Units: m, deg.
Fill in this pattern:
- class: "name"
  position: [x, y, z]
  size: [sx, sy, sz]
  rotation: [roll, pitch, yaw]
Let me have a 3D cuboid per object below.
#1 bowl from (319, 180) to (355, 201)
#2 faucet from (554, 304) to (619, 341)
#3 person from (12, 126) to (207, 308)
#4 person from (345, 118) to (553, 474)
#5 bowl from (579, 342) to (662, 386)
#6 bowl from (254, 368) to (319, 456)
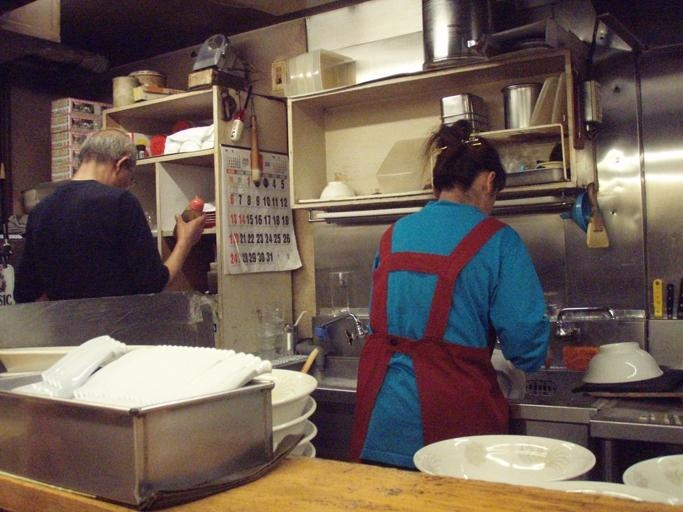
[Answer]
- class: "bowl"
  position: [-0.023, -0.347, 3.332]
  size: [0.133, 0.084, 0.135]
  rotation: [-1, 2, 0]
- class: "faucet"
  position: [1.173, 0.312, 2.886]
  size: [0.342, 0.188, 0.123]
  rotation: [2, 2, 15]
- class: "person"
  position: [-0.862, -0.178, 2.271]
  size: [0.436, 0.613, 0.855]
  rotation: [0, 3, -6]
- class: "person"
  position: [0.385, 0.170, 2.178]
  size: [0.676, 1.183, 0.376]
  rotation: [1, 2, 18]
- class: "bowl"
  position: [1.115, 0.435, 2.414]
  size: [0.286, 0.169, 0.135]
  rotation: [2, 3, 24]
- class: "bowl"
  position: [-0.127, 0.379, 1.422]
  size: [0.138, 0.258, 0.336]
  rotation: [0, 3, -5]
